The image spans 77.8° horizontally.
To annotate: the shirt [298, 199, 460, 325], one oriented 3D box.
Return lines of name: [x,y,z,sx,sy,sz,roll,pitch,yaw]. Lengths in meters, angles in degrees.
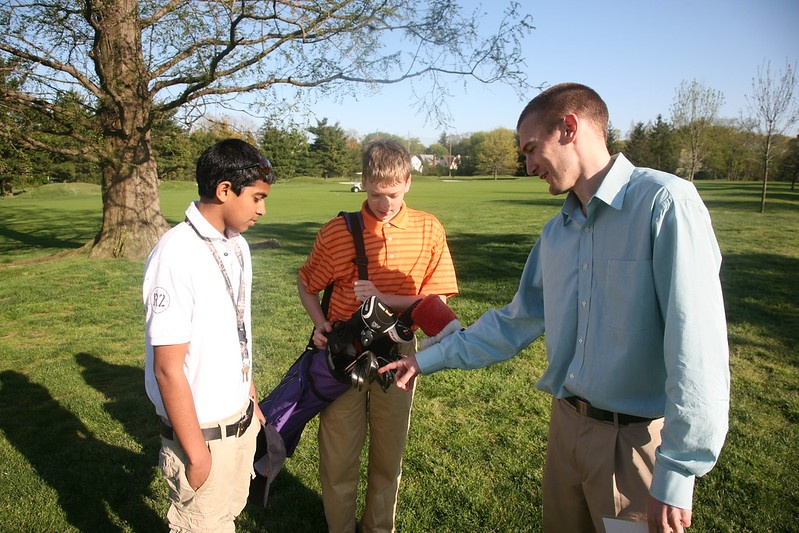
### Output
shirt: [-0.226,-0.108,5.203,1.788,1.700,1.043,-2,10,-10]

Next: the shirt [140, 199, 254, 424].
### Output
shirt: [-1.665,0.405,4.136,0.818,1.780,0.480,-2,10,-20]

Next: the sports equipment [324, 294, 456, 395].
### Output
sports equipment: [-0.111,0.640,4.569,1.115,0.796,0.489,-25,13,18]

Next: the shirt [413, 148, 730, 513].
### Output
shirt: [1.770,0.380,3.802,1.374,2.443,0.699,10,13,38]
